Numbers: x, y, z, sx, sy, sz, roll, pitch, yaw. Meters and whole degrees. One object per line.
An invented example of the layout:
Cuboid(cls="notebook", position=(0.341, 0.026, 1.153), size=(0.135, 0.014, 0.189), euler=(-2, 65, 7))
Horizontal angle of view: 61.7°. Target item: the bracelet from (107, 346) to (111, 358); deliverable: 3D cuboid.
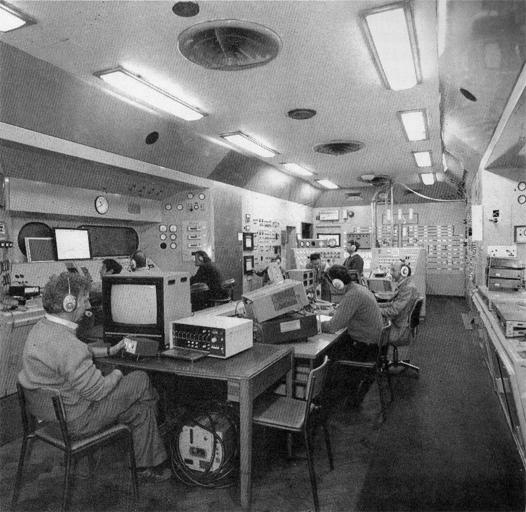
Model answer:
Cuboid(cls="bracelet", position=(-1.042, 0.651, 2.984), size=(0.019, 0.050, 0.058), euler=(0, 47, 3))

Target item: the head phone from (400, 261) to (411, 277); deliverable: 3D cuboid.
Cuboid(cls="head phone", position=(1.747, 0.169, 5.459), size=(0.082, 0.275, 0.191), euler=(-2, -2, 30))

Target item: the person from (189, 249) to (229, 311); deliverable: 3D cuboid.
Cuboid(cls="person", position=(-0.829, 0.373, 6.675), size=(0.593, 0.901, 0.684), euler=(-2, 2, 3))

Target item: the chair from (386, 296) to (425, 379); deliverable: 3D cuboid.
Cuboid(cls="chair", position=(1.541, 0.885, 5.022), size=(0.471, 0.868, 0.507), euler=(3, -2, -21))

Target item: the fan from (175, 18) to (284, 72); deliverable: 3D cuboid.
Cuboid(cls="fan", position=(-0.262, -1.727, 3.644), size=(0.869, 0.126, 0.625), euler=(-4, 2, -23))

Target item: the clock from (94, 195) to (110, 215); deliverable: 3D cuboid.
Cuboid(cls="clock", position=(-2.131, -0.670, 5.771), size=(0.031, 0.316, 0.247), euler=(0, 2, 19))

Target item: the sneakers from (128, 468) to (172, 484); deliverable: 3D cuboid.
Cuboid(cls="sneakers", position=(-0.776, 1.495, 3.043), size=(0.229, 0.126, 0.117), euler=(-1, -3, -7))

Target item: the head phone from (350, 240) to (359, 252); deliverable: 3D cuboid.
Cuboid(cls="head phone", position=(1.668, -0.178, 8.153), size=(0.165, 0.187, 0.186), euler=(-4, -18, -5))

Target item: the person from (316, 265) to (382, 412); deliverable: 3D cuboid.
Cuboid(cls="person", position=(0.809, 0.718, 4.288), size=(0.624, 1.251, 0.498), euler=(2, 13, 16))

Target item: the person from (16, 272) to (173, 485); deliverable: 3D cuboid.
Cuboid(cls="person", position=(-1.094, 0.839, 2.901), size=(0.565, 1.501, 0.821), euler=(-1, 8, 42))

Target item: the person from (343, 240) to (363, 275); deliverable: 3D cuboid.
Cuboid(cls="person", position=(1.575, 0.035, 7.794), size=(0.291, 1.010, 0.426), euler=(0, -13, 7))

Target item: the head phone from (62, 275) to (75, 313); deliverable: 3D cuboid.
Cuboid(cls="head phone", position=(-1.204, 0.240, 2.714), size=(0.072, 0.261, 0.175), euler=(-1, -7, -19))

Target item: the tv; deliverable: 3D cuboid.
Cuboid(cls="tv", position=(-0.927, 0.409, 3.345), size=(0.463, 0.515, 0.379), euler=(0, -1, 6))

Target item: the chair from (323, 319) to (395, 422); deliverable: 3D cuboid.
Cuboid(cls="chair", position=(0.932, 1.020, 4.446), size=(0.728, 1.366, 0.688), euler=(0, -1, 31))
